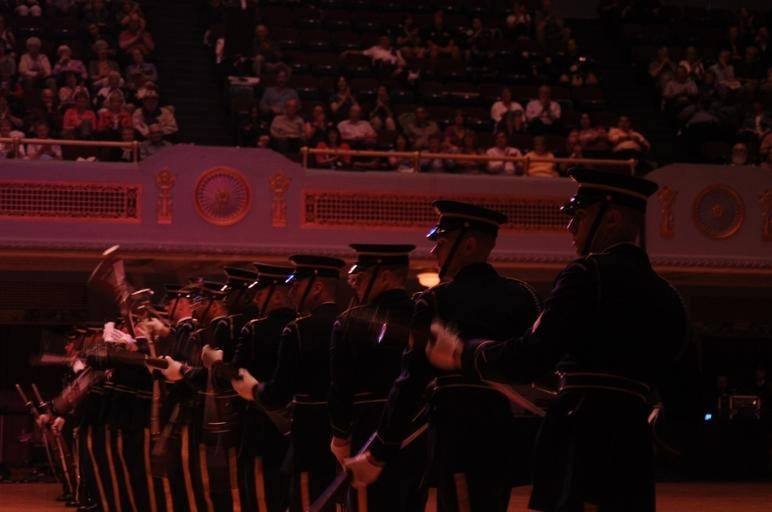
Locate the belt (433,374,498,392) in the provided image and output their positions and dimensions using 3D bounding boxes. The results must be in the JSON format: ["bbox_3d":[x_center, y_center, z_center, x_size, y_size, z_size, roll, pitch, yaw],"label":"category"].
[{"bbox_3d":[0.820,1.335,11.983,0.655,0.180,0.066,0,4,3],"label":"belt"}]

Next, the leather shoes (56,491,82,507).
[{"bbox_3d":[-4.672,3.575,16.655,0.496,0.155,0.185,1,-8,39],"label":"leather shoes"}]

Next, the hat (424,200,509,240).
[{"bbox_3d":[0.844,-0.408,12.238,0.729,0.212,0.500,-2,-2,-2],"label":"hat"}]

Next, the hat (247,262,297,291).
[{"bbox_3d":[-1.403,0.235,13.846,0.499,0.165,0.317,-2,-6,3],"label":"hat"}]
